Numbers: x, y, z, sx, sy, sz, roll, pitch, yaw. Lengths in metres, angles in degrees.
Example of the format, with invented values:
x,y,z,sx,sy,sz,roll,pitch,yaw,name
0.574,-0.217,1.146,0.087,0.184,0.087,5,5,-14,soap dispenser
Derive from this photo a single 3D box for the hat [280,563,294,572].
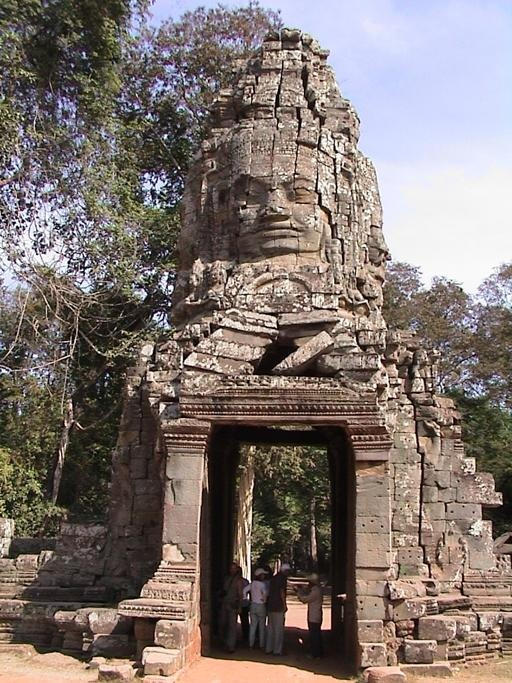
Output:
x,y,z,sx,sy,sz,roll,pitch,yaw,name
0.421,3.180,9.364,0.190,0.072,0.199,-1,-10,3,hat

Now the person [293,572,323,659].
x,y,z,sx,sy,sz,roll,pitch,yaw,name
0.774,3.957,9.714,0.375,1.065,1.010,2,-20,5,person

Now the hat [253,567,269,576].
x,y,z,sx,sy,sz,roll,pitch,yaw,name
0.089,3.455,9.984,0.199,0.082,0.118,-1,-6,-14,hat
